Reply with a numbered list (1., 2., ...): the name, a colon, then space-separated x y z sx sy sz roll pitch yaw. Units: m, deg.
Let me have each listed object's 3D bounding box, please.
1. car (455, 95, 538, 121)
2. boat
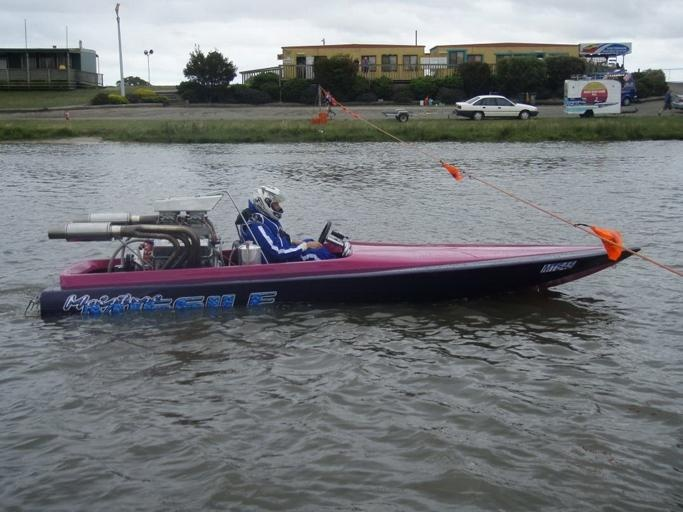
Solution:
1. car: 8.754 -8.139 46.720 4.838 0.892 1.527 -1 18 -3
2. boat: -2.506 0.314 14.727 13.834 1.552 2.613 -1 18 0
